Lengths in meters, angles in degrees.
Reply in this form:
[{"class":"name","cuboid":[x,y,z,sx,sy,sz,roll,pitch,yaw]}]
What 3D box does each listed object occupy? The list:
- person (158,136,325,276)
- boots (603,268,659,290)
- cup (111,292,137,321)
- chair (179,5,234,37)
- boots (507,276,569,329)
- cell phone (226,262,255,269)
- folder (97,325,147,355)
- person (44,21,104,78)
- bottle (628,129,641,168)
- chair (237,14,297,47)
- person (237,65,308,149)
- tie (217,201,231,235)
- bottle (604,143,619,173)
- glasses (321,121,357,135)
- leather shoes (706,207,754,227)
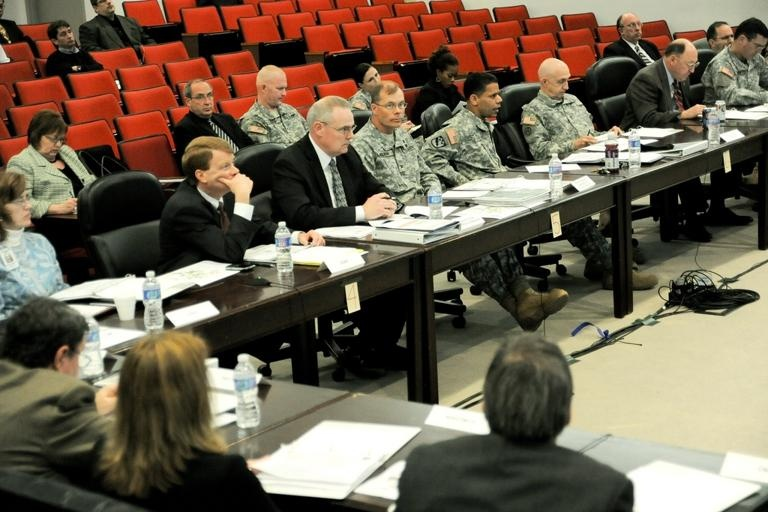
[{"class":"person","cuboid":[-0.816,-0.038,3.519,0.937,1.104,0.547,3,32,-8]},{"class":"boots","cuboid":[1.802,0.174,4.789,0.469,0.160,0.151,-2,15,1]},{"class":"cup","cuboid":[-1.053,0.211,2.581,0.104,0.094,0.114,-2,1,0]},{"class":"chair","cuboid":[-2.449,-3.233,8.950,0.543,0.564,0.609,-12,14,-31]},{"class":"boots","cuboid":[1.007,0.325,4.243,0.362,0.276,0.140,-39,-31,10]},{"class":"cell phone","cuboid":[-0.697,0.050,3.144,0.150,0.013,0.082,3,8,19]},{"class":"folder","cuboid":[-1.034,0.323,2.511,0.124,0.024,0.124,9,15,31]},{"class":"person","cuboid":[-3.595,-2.338,7.509,0.628,0.711,0.609,-13,31,-24]},{"class":"bottle","cuboid":[1.755,-0.743,4.529,0.083,0.248,0.341,-6,11,23]},{"class":"chair","cuboid":[-1.654,-3.106,8.845,0.576,0.601,0.637,-15,16,-35]},{"class":"person","cuboid":[-0.998,-1.324,5.802,0.525,0.709,0.902,12,26,6]},{"class":"tie","cuboid":[-0.832,-0.204,3.400,0.049,0.225,0.033,-7,18,-1]},{"class":"bottle","cuboid":[1.573,-0.679,4.449,0.100,0.200,0.200,-7,11,18]},{"class":"glasses","cuboid":[-0.260,-0.742,3.755,0.165,0.081,0.056,-12,11,-20]},{"class":"leather shoes","cuboid":[3.158,-0.353,5.940,0.550,0.176,0.153,-2,8,6]}]
